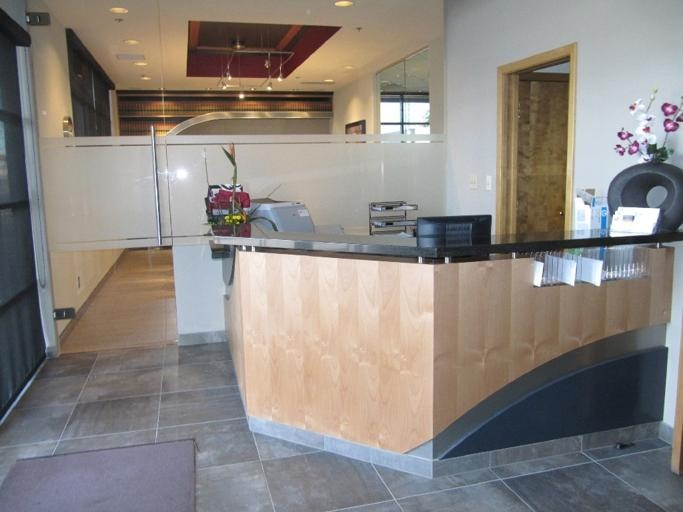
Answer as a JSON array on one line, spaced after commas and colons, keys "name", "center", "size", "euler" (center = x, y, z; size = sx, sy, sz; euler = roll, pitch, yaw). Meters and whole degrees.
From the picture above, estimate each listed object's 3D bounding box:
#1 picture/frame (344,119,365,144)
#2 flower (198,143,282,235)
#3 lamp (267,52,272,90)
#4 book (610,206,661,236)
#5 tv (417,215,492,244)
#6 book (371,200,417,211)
[{"name": "picture/frame", "center": [0.144, -1.338, 5.354], "size": [0.325, 0.403, 0.027], "euler": [0, -34, 0]}, {"name": "flower", "center": [-0.969, -0.635, 4.554], "size": [0.753, 0.939, 0.661], "euler": [4, 16, 21]}, {"name": "lamp", "center": [-0.779, -1.975, 5.335], "size": [0.065, 0.357, 0.095], "euler": [-3, 12, -10]}, {"name": "book", "center": [1.818, -0.215, 3.068], "size": [0.261, 0.157, 0.269], "euler": [8, 15, 33]}, {"name": "tv", "center": [0.661, -0.163, 2.872], "size": [0.436, 0.142, 0.272], "euler": [1, 13, 9]}, {"name": "book", "center": [0.565, -0.536, 5.366], "size": [0.514, 0.107, 0.122], "euler": [-3, 13, -11]}]
